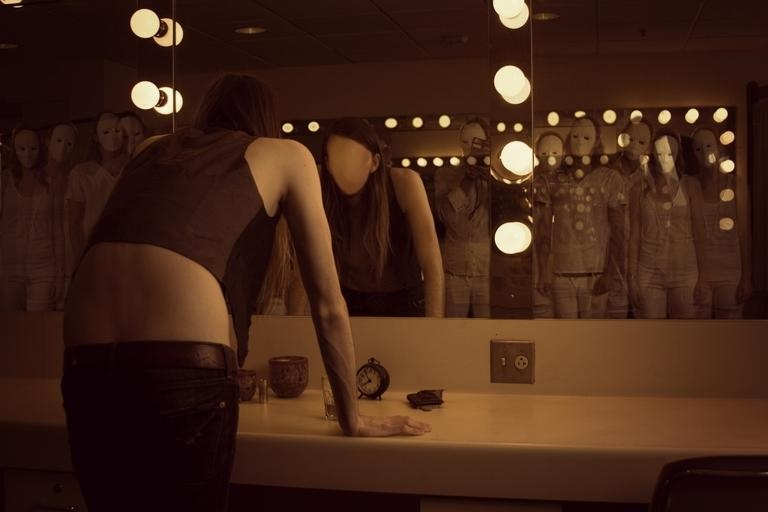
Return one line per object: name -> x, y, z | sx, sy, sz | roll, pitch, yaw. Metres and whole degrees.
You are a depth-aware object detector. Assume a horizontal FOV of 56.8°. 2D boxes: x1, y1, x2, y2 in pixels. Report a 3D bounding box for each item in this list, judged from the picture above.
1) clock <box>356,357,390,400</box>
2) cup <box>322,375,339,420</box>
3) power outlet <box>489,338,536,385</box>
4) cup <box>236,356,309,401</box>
clock -> -0.057, 0.449, 2.595 | 0.114, 0.147, 0.070 | 8, -6, -28
cup -> -0.168, 0.480, 2.406 | 0.075, 0.143, 0.086 | -9, -4, -7
power outlet -> 0.467, 0.388, 2.596 | 0.159, 0.186, 0.024 | 0, 22, 10
cup -> -0.399, 0.454, 2.578 | 0.220, 0.125, 0.133 | -2, -9, 14
